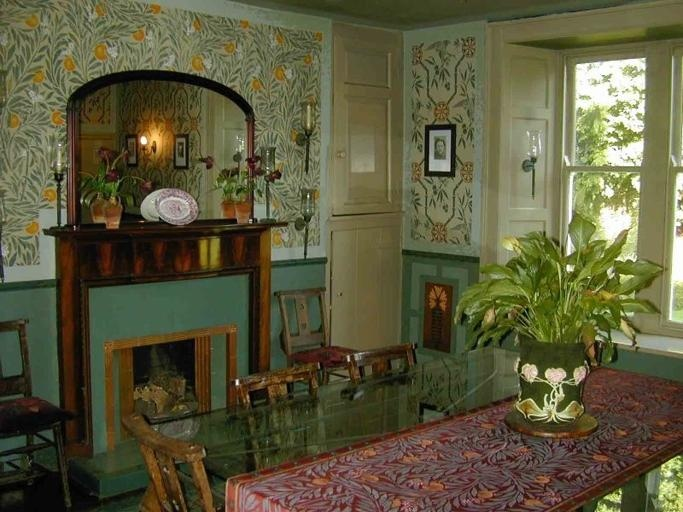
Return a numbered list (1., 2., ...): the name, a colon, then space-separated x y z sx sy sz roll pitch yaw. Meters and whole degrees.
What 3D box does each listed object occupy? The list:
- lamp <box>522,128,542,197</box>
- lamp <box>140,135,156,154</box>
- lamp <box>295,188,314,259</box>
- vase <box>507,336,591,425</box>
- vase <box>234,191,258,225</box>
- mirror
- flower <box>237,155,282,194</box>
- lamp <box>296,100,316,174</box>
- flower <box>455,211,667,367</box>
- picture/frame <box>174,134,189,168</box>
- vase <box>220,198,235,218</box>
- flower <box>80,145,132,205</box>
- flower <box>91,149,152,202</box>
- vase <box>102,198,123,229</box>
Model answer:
1. lamp: 1.565 -0.748 4.454 0.162 0.564 0.144 1 6 4
2. lamp: -1.295 -0.735 3.625 0.086 0.140 0.107 13 14 36
3. lamp: -0.290 -0.263 4.486 0.201 0.581 0.157 -2 6 -21
4. vase: 0.776 0.441 2.093 0.274 0.328 0.284 3 5 37
5. vase: -0.720 -0.350 4.123 0.192 0.211 0.197 -2 8 -21
6. mirror: -1.289 -0.729 3.701 1.073 0.850 0.078 -2 0 -38
7. flower: -0.617 -0.591 4.164 0.257 0.472 0.280 0 2 -13
8. lamp: -0.272 -0.956 4.448 0.201 0.584 0.149 -2 7 -24
9. flower: 0.844 0.143 2.130 0.690 0.618 0.599 4 7 30
10. picture/frame: -1.121 -0.727 3.774 0.017 0.239 0.126 14 18 34
11. vase: -0.845 -0.346 4.035 0.111 0.137 0.117 0 10 -1
12. flower: -1.510 -0.510 3.502 0.334 0.370 0.161 -3 7 -28
13. flower: -1.439 -0.522 3.596 0.285 0.313 0.296 9 8 33
14. vase: -1.459 -0.272 3.458 0.103 0.184 0.059 -2 6 -20
